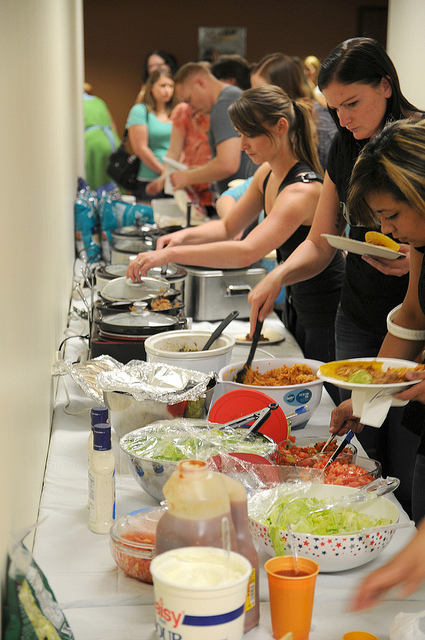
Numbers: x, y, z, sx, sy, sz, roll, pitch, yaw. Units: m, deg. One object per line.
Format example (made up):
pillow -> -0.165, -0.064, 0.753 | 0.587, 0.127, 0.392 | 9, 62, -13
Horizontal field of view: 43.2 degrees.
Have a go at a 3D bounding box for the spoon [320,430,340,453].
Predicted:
spoon -> 0.254, 0.264, 1.160 | 0.009, 0.005, 0.066 | -37, 7, 49

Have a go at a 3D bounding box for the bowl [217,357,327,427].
bowl -> 0.228, 0.188, 1.420 | 0.212, 0.092, 0.190 | 6, -26, 13

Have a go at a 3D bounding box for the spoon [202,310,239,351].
spoon -> 0.025, 0.035, 1.868 | 0.028, 0.194, 0.028 | 39, -8, -2

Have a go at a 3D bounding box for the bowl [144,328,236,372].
bowl -> -0.062, 0.080, 1.443 | 0.152, 0.106, 0.151 | 0, 4, 0

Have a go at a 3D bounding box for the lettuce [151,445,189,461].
lettuce -> -0.075, 0.235, 0.937 | 0.045, 0.014, 0.051 | -9, 13, -43

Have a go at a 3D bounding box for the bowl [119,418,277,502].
bowl -> -0.055, 0.205, 1.051 | 0.239, 0.118, 0.228 | -1, 2, 0

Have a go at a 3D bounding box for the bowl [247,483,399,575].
bowl -> 0.175, 0.329, 0.844 | 0.235, 0.121, 0.164 | 0, 10, 1
